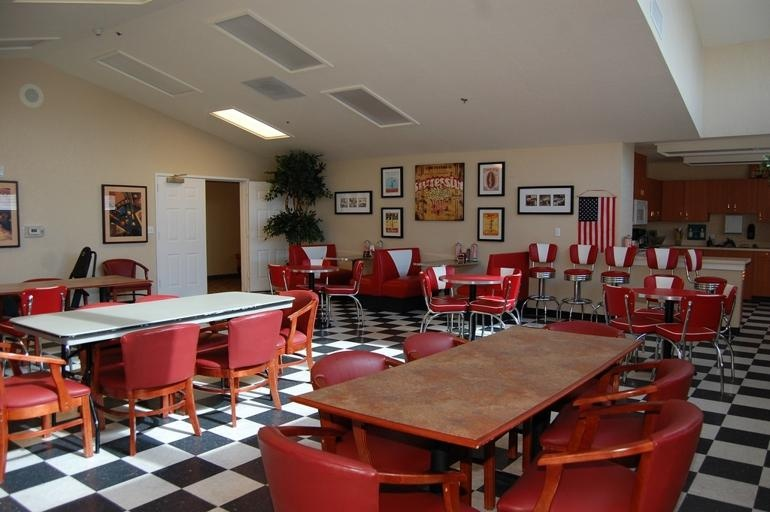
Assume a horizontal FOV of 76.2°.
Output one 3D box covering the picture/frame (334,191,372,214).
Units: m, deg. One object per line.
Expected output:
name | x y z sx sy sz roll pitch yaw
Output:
picture/frame | -0.749 -1.259 11.607 1.073 0.569 0.040 0 3 29

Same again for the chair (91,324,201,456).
chair | -2.260 1.172 4.616 0.816 1.143 0.972 -3 3 -42

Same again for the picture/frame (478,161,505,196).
picture/frame | 2.180 -1.574 9.902 0.735 0.823 0.038 1 -1 37

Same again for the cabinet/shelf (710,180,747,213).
cabinet/shelf | 7.973 -1.388 11.286 0.789 0.700 0.306 2 4 42

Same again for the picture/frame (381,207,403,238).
picture/frame | 0.171 -0.777 11.116 0.726 0.858 0.060 1 0 35

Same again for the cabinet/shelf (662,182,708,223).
cabinet/shelf | 7.271 -1.297 11.761 1.004 1.001 0.399 -1 -1 37

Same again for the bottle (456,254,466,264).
bottle | 1.537 0.054 9.833 0.183 0.252 0.174 0 -5 0

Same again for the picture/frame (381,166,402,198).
picture/frame | 0.164 -1.686 11.033 0.735 0.859 0.058 1 1 33
